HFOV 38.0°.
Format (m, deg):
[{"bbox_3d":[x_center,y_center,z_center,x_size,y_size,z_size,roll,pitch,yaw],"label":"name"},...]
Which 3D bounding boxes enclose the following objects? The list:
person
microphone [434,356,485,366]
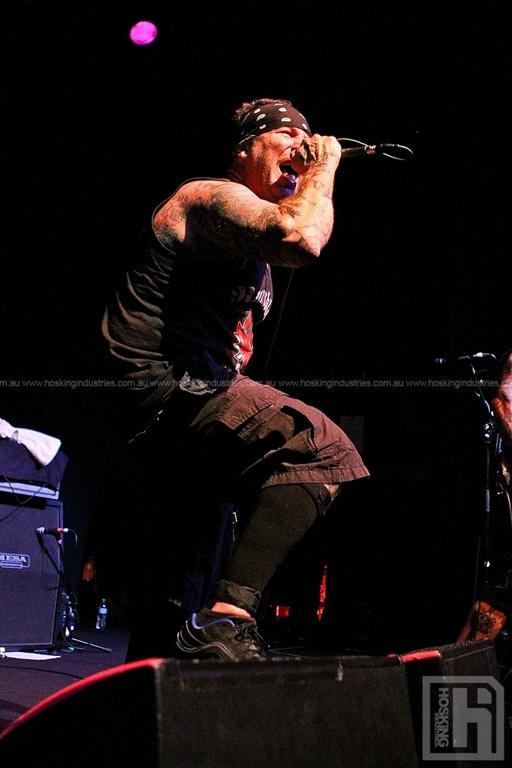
[{"bbox_3d":[-0.083,-0.028,2.070,0.604,1.484,1.112,8,-3,-26],"label":"person"},{"bbox_3d":[0.820,-0.098,3.058,0.024,0.037,0.183,9,-3,-38],"label":"microphone"}]
